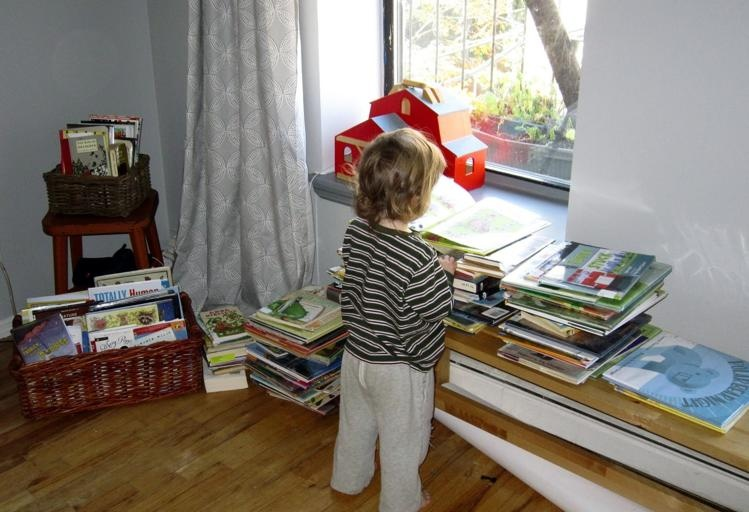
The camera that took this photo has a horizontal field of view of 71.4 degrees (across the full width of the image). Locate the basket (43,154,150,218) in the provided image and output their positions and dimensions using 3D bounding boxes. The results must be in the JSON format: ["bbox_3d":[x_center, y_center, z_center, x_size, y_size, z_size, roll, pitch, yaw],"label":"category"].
[{"bbox_3d":[-1.283,-0.330,2.426,0.369,0.232,0.314,0,21,-5],"label":"basket"}]

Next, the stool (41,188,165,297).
[{"bbox_3d":[-1.163,-0.116,2.556,0.525,0.577,0.531,-2,35,-8],"label":"stool"}]
